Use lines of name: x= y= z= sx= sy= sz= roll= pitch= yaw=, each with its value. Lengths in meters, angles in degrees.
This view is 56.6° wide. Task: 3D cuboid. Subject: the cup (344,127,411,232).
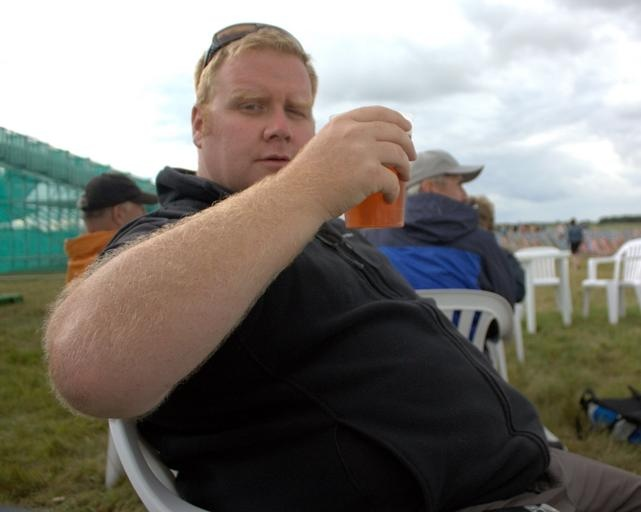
cup: x=0.291 y=-0.301 z=2.993 sx=0.255 sy=0.343 sz=0.279 roll=0 pitch=6 yaw=0
